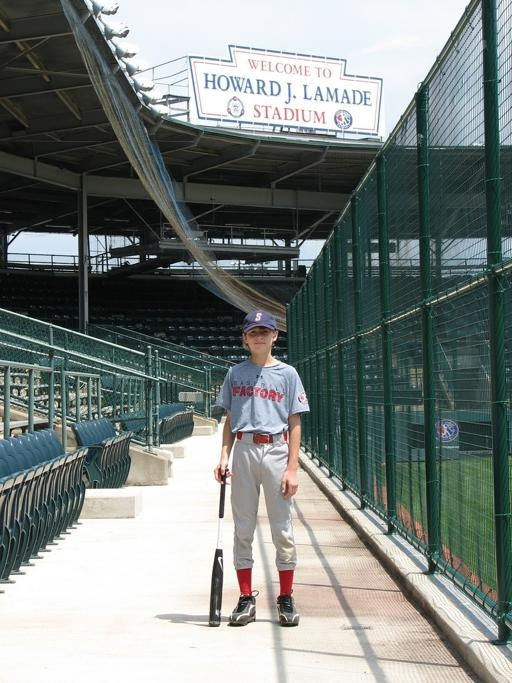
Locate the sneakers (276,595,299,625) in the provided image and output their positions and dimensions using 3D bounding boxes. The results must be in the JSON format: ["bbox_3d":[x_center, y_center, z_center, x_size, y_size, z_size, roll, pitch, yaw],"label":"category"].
[{"bbox_3d":[0.153,1.296,3.696,0.103,0.133,0.159,7,-5,-2],"label":"sneakers"}]

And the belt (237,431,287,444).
[{"bbox_3d":[0.029,0.477,3.785,0.254,0.076,0.094,7,-5,-3],"label":"belt"}]

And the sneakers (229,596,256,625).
[{"bbox_3d":[-0.066,1.291,3.657,0.065,0.087,0.188,-5,-13,13],"label":"sneakers"}]

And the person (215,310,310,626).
[{"bbox_3d":[0.026,0.606,3.816,0.502,1.532,0.349,7,-6,-4],"label":"person"}]
